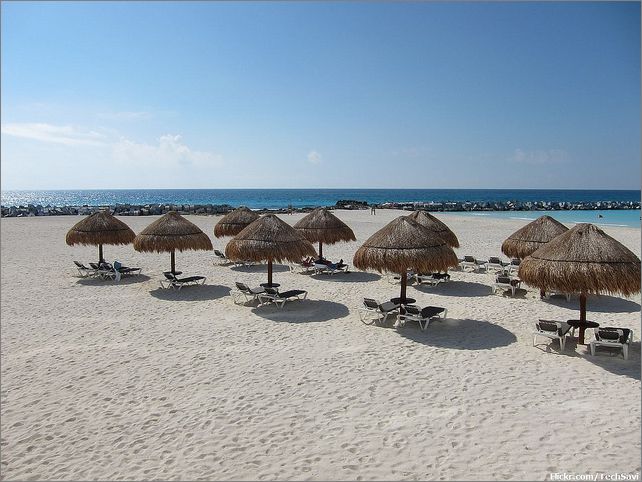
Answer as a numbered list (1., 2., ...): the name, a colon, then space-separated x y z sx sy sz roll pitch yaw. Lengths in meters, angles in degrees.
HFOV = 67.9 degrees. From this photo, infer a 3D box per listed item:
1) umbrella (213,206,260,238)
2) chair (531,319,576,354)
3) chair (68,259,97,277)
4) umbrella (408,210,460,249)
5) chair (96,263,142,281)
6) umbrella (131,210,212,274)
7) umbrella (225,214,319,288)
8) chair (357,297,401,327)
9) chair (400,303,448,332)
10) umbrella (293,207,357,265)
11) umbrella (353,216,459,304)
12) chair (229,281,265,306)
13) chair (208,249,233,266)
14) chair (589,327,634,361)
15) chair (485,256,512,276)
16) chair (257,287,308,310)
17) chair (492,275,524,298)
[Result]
1. umbrella: -3.005 -0.791 18.589 2.029 0.996 1.995 -8 10 -43
2. chair: 4.644 1.813 9.496 0.536 0.498 0.906 3 8 42
3. chair: -7.516 0.880 15.075 1.103 0.691 0.637 -3 0 37
4. umbrella: 3.715 -0.429 15.368 1.669 0.807 1.541 -1 6 -11
5. chair: -6.286 0.963 14.705 0.800 0.317 0.839 -6 13 -40
6. umbrella: -4.618 -0.029 14.617 2.313 1.818 2.218 9 13 29
7. umbrella: -1.365 0.274 13.038 2.512 1.927 2.463 -3 6 -33
8. chair: 1.200 1.561 10.857 0.813 0.517 0.787 9 14 41
9. chair: 2.345 1.649 10.615 0.537 0.396 0.936 5 13 44
10. umbrella: 0.005 -0.222 16.281 2.065 1.652 1.957 3 15 5
11. umbrella: 1.968 0.446 11.643 2.543 2.003 2.509 4 9 39
12. chair: -1.969 1.335 12.347 0.548 0.470 0.843 4 6 21
13. chair: -3.709 0.692 17.530 0.722 0.586 0.992 -4 8 -27
14. chair: 5.553 1.883 9.089 0.530 0.470 0.889 -3 9 42
15. chair: 5.815 0.796 15.522 0.661 0.539 0.635 4 9 42
16. chair: -0.936 1.431 12.053 1.093 0.352 0.520 -10 15 -27
17. chair: 5.070 1.198 12.920 0.548 0.725 0.716 18 31 38
